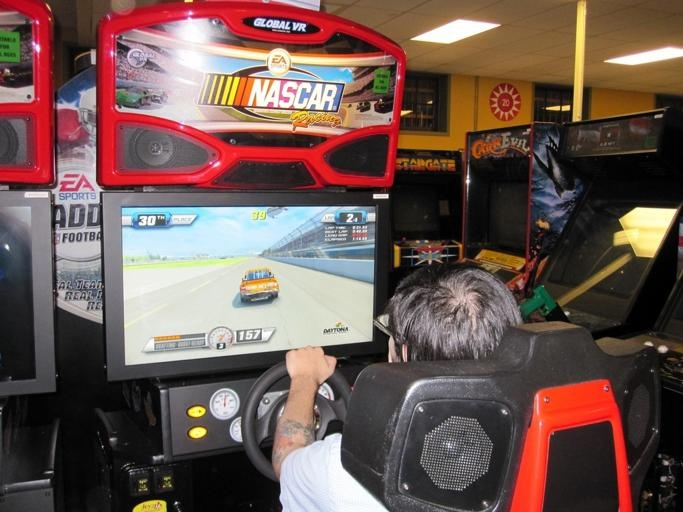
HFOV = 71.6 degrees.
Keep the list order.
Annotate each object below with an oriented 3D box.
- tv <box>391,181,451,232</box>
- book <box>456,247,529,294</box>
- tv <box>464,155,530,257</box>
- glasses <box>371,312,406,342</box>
[{"bbox_3d":[0.874,-0.521,5.404,0.633,0.553,0.141,1,-1,-18],"label":"tv"},{"bbox_3d":[1.373,0.103,4.223,0.392,0.243,0.593,-2,16,-18],"label":"book"},{"bbox_3d":[1.443,-0.429,4.361,0.334,0.947,0.699,-1,8,-17],"label":"tv"},{"bbox_3d":[0.115,0.170,1.148,0.042,0.053,0.126,-14,6,-13],"label":"glasses"}]
